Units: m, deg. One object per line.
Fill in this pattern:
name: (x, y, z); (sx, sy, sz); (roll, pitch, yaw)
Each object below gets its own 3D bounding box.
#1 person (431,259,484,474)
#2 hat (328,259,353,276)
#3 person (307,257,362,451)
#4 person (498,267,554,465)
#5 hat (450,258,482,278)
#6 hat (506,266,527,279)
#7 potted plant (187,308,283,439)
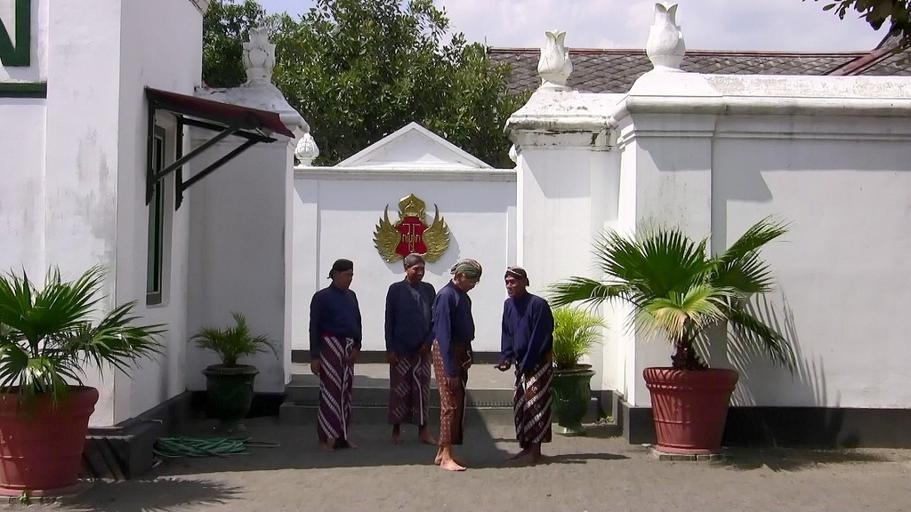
person: (-0.017, 1.444, 13.813); (0.595, 2.828, 0.505); (2, -2, -41)
hat: (-1.637, 0.157, 14.614); (0.299, 0.236, 0.234); (-6, -1, 4)
person: (-1.702, 1.372, 14.499); (0.711, 2.645, 0.368); (1, -2, -15)
person: (0.964, 1.455, 13.919); (0.717, 2.612, 0.377); (0, -2, 5)
hat: (0.146, 0.164, 13.889); (0.317, 0.252, 0.253); (2, -1, -2)
hat: (0.823, 0.215, 13.911); (0.202, 0.103, 0.174); (10, 2, 27)
potted plant: (-3.359, 1.731, 15.287); (1.194, 1.730, 1.057); (0, -10, -17)
